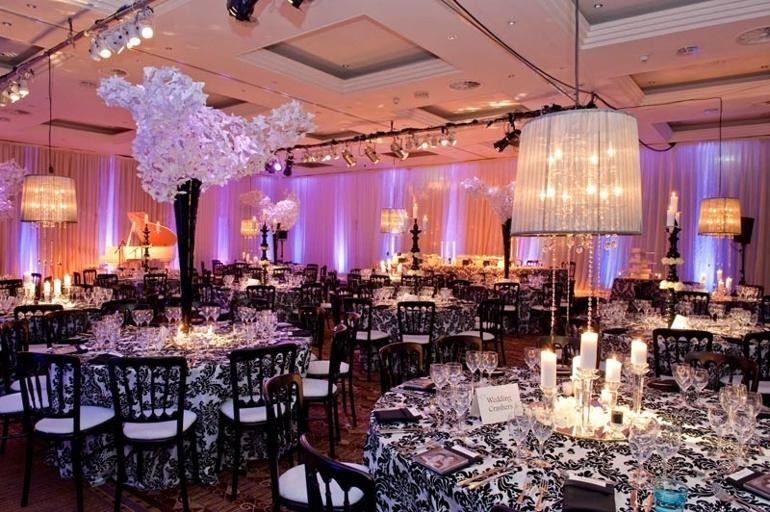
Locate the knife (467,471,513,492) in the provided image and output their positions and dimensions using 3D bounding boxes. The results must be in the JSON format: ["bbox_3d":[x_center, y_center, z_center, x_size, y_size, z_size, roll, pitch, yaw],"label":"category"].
[{"bbox_3d":[0.679,1.447,3.499,0.316,0.038,0.042,-8,10,-32],"label":"knife"}]

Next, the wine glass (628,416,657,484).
[{"bbox_3d":[1.696,1.256,3.548,0.164,0.415,0.265,-1,-2,27],"label":"wine glass"}]
